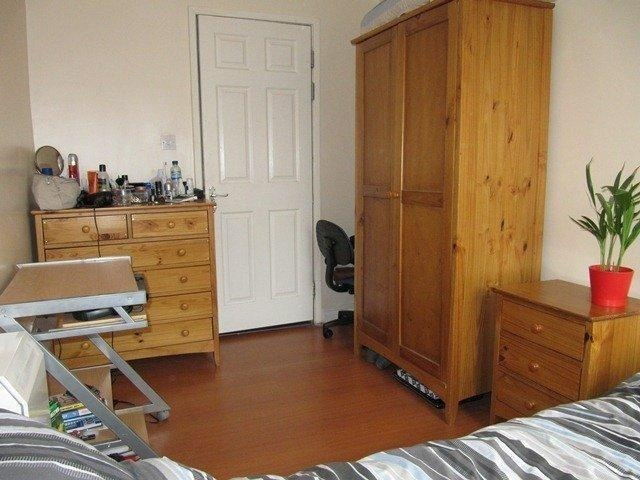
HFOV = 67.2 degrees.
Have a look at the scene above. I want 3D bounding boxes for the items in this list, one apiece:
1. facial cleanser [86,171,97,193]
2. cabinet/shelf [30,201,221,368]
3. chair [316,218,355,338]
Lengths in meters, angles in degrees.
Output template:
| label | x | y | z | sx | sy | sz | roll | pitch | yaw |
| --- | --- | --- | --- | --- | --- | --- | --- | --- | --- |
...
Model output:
| label | x | y | z | sx | sy | sz | roll | pitch | yaw |
| --- | --- | --- | --- | --- | --- | --- | --- | --- | --- |
| facial cleanser | -1.572 | -0.400 | 3.338 | 0.063 | 0.138 | 0.155 | -6 | 14 | -23 |
| cabinet/shelf | -1.171 | 0.223 | 2.855 | 1.070 | 1.038 | 0.413 | -3 | 6 | -20 |
| chair | 0.126 | 0.311 | 3.891 | 0.293 | 0.988 | 0.549 | -1 | 13 | 2 |
